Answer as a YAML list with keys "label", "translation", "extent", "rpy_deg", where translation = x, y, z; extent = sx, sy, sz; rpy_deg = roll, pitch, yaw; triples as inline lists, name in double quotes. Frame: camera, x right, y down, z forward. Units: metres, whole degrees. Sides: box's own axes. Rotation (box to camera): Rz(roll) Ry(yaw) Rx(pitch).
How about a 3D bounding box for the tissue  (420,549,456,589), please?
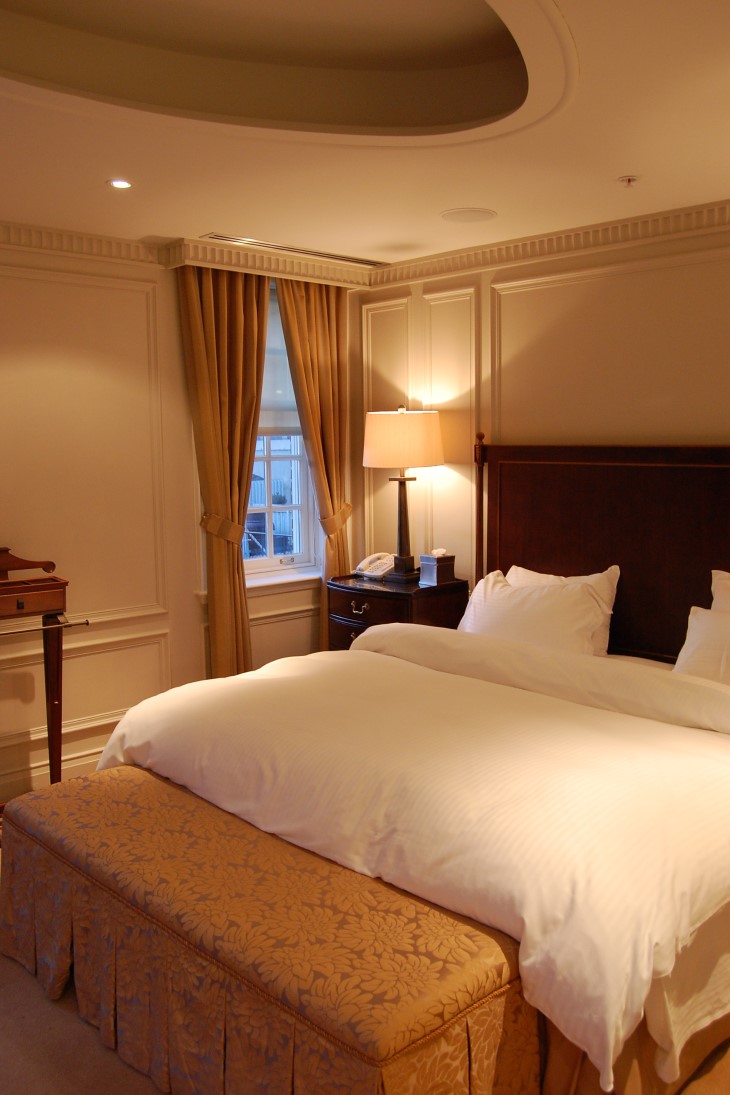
- label: "tissue "
  translation: [0.369, 0.101, 4.011]
  extent: [0.195, 0.209, 0.154]
  rpy_deg: [-1, 1, -45]

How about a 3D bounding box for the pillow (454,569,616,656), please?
- label: "pillow"
  translation: [0.723, 0.281, 3.346]
  extent: [0.315, 0.371, 0.792]
  rpy_deg: [-6, 8, -30]

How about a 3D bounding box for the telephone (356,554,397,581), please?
- label: "telephone"
  translation: [0.086, 0.085, 4.267]
  extent: [0.122, 0.079, 0.164]
  rpy_deg: [-5, 20, 47]
